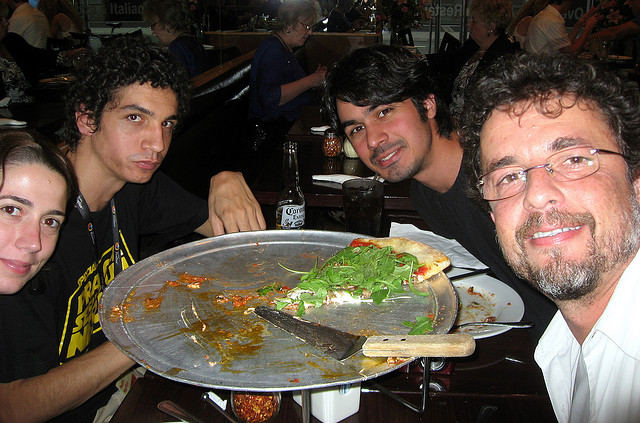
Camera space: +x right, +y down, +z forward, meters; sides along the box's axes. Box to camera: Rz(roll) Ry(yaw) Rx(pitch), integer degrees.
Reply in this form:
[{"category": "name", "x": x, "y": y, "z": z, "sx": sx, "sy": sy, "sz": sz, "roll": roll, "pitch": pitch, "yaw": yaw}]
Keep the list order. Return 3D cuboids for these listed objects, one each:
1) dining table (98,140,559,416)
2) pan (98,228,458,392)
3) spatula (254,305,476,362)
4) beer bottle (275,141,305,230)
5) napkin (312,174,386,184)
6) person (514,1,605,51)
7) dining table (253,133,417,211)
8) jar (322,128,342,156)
[{"category": "dining table", "x": 0.021, "y": 0.324, "z": 1.614, "sx": 0.987, "sy": 0.298, "sz": 1.082, "roll": 4, "pitch": 39, "yaw": 3}, {"category": "pan", "x": -0.129, "y": 0.295, "z": 1.818, "sx": 1.279, "sy": 0.069, "sz": 1.264, "roll": -5, "pitch": 17, "yaw": -18}, {"category": "spatula", "x": 0.094, "y": 0.408, "z": 1.515, "sx": 0.732, "sy": 0.059, "sz": 0.206, "roll": 2, "pitch": 26, "yaw": 21}, {"category": "beer bottle", "x": -0.160, "y": -0.127, "z": 2.481, "sx": 0.148, "sy": 0.461, "sz": 0.141, "roll": 0, "pitch": 7, "yaw": 0}, {"category": "napkin", "x": 0.164, "y": -0.198, "z": 2.909, "sx": 0.342, "sy": 0.038, "sz": 0.103, "roll": 0, "pitch": 19, "yaw": 4}, {"category": "person", "x": 4.378, "y": -3.284, "z": 8.693, "sx": 1.327, "sy": 0.788, "sz": 3.401, "roll": 6, "pitch": 18, "yaw": 32}, {"category": "dining table", "x": 0.025, "y": -0.230, "z": 3.214, "sx": 0.693, "sy": 0.248, "sz": 1.011, "roll": -1, "pitch": 35, "yaw": -3}, {"category": "jar", "x": 0.074, "y": -0.499, "z": 3.553, "sx": 0.180, "sy": 0.173, "sz": 0.130, "roll": -4, "pitch": 24, "yaw": 2}]
